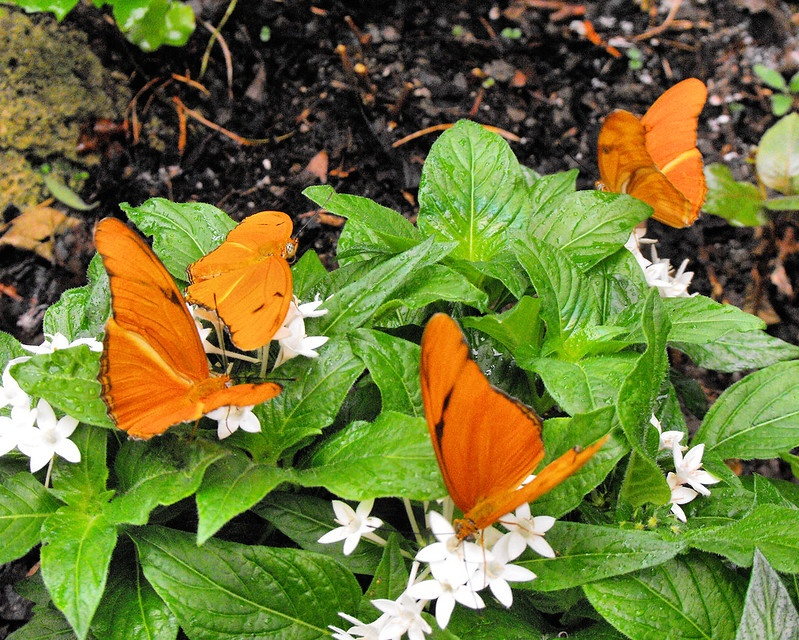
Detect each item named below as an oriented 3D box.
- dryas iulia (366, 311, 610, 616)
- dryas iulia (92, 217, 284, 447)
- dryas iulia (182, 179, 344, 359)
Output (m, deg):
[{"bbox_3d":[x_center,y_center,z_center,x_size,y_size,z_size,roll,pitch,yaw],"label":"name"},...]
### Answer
[{"bbox_3d":[0.277,0.525,2.622,0.574,0.933,0.512,13,54,3],"label":"dryas iulia"},{"bbox_3d":[-0.842,0.048,2.820,0.409,0.402,0.667,-26,63,-22],"label":"dryas iulia"},{"bbox_3d":[-0.483,-0.090,3.081,0.442,0.318,0.618,-18,52,-19],"label":"dryas iulia"}]
